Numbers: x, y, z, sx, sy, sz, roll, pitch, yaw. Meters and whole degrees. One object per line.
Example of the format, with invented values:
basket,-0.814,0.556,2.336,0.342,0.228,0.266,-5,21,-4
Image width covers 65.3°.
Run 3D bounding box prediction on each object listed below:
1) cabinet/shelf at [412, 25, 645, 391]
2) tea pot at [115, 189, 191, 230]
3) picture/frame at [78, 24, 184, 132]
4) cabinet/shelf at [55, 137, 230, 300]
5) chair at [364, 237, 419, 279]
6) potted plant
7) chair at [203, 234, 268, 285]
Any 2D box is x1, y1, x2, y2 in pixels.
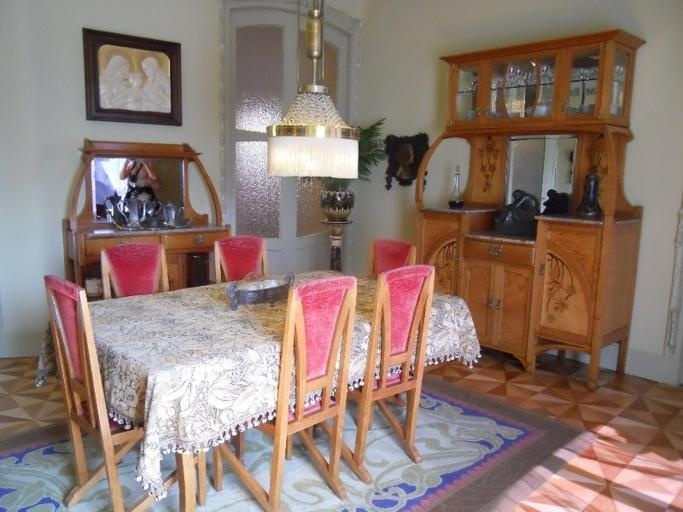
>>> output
cabinet/shelf,1.653,-0.423,4.627,1.665,2.740,0.786,7,13,35
tea pot,-1.763,-0.385,4.748,0.438,0.180,0.360,13,13,38
picture/frame,-1.903,-1.603,4.718,1.017,0.900,0.078,-3,5,-37
cabinet/shelf,-1.826,-0.143,4.988,1.255,1.680,0.497,-2,10,-11
chair,0.395,-0.011,4.045,0.284,0.514,0.303,7,8,34
potted plant,-0.022,-0.923,5.694,0.923,1.033,0.960,2,-3,-27
chair,-0.749,0.017,3.976,0.315,0.580,0.392,-2,7,-22
